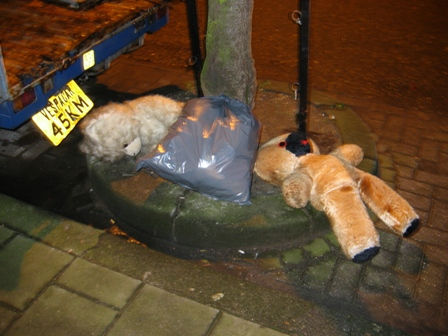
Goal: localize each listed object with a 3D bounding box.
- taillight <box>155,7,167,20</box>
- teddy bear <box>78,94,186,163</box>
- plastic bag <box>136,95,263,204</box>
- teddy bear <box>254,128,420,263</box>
[{"bbox_3d":[-0.854,-2.106,5.075,0.014,0.156,0.299,16,55,11],"label":"taillight"},{"bbox_3d":[-1.125,-0.463,4.396,1.124,0.410,0.811,-29,57,4],"label":"teddy bear"},{"bbox_3d":[-0.179,-0.261,3.918,1.091,0.587,0.995,10,54,5],"label":"plastic bag"},{"bbox_3d":[1.048,0.160,3.870,1.280,0.636,1.759,-22,39,-30],"label":"teddy bear"}]
